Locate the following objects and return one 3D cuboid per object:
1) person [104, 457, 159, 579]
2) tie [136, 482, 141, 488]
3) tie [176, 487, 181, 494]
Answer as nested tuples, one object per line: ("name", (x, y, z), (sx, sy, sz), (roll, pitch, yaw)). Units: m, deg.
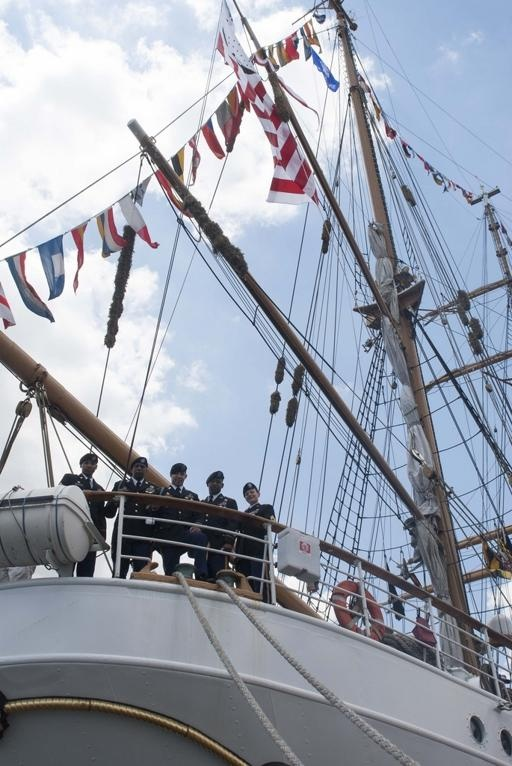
("person", (-0.933, 1.088, 6.708), (0.433, 1.120, 0.354), (7, -32, -13))
("tie", (-0.998, 0.866, 7.397), (0.034, 0.046, 0.012), (2, -48, -11))
("tie", (-0.663, 0.918, 7.386), (0.047, 0.043, 0.011), (-1, -10, -19))
